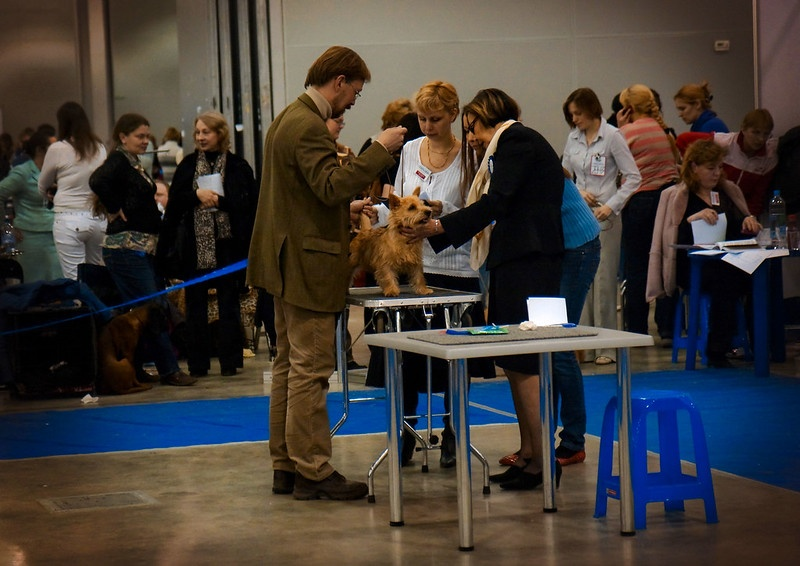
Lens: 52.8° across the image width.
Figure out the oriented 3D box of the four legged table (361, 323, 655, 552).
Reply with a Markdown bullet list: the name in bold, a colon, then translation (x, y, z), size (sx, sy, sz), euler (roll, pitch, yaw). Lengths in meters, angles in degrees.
- **four legged table**: translation (0.531, 0.733, 3.964), size (1.070, 1.006, 0.840), euler (2, -5, -24)

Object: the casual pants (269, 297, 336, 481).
- **casual pants**: translation (-0.550, 0.578, 4.433), size (0.408, 0.996, 0.290), euler (-1, 6, 4)

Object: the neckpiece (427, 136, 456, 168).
- **neckpiece**: translation (0.252, -0.773, 4.902), size (0.134, 0.112, 0.203), euler (10, -21, 2)

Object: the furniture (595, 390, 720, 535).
- **furniture**: translation (1.302, 0.910, 4.116), size (0.518, 0.719, 0.516), euler (3, -12, -13)

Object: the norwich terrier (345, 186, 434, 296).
- **norwich terrier**: translation (-0.067, -0.227, 4.997), size (0.291, 0.613, 0.819), euler (-2, 4, -33)

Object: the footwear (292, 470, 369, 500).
- **footwear**: translation (-0.388, 1.121, 4.483), size (0.396, 0.203, 0.168), euler (-1, 0, -2)

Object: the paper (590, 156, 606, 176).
- **paper**: translation (1.768, -1.037, 7.149), size (0.147, 0.217, 0.023), euler (1, 3, 8)

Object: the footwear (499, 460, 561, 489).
- **footwear**: translation (0.726, 1.077, 4.525), size (0.349, 0.164, 0.160), euler (0, -3, -2)

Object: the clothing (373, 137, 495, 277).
- **clothing**: translation (0.246, -0.485, 5.183), size (0.808, 1.246, 0.669), euler (1, 3, 30)

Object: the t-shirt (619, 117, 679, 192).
- **t-shirt**: translation (2.369, -1.191, 7.645), size (0.597, 0.668, 0.362), euler (-14, 5, -5)

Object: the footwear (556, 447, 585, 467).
- **footwear**: translation (1.025, 1.044, 4.834), size (0.225, 0.100, 0.085), euler (8, -9, -20)

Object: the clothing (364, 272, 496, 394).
- **clothing**: translation (0.140, 0.396, 5.067), size (0.787, 0.701, 0.827), euler (2, 5, 29)

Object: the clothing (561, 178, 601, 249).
- **clothing**: translation (0.982, -0.405, 4.621), size (0.183, 0.372, 0.254), euler (-19, 0, 16)

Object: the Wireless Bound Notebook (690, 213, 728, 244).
- **Wireless Bound Notebook**: translation (2.753, -0.473, 7.153), size (0.313, 0.337, 0.196), euler (-2, 0, -7)

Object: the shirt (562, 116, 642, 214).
- **shirt**: translation (1.747, -1.059, 7.310), size (0.458, 0.879, 0.902), euler (-20, 26, -34)

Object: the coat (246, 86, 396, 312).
- **coat**: translation (-0.458, -0.566, 4.889), size (0.939, 1.559, 1.105), euler (-4, 19, -24)

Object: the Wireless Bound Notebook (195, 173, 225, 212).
- **Wireless Bound Notebook**: translation (-1.725, -0.840, 7.365), size (0.248, 0.283, 0.097), euler (-1, 0, -3)

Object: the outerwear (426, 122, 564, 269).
- **outerwear**: translation (0.565, -0.493, 4.487), size (0.681, 0.827, 0.618), euler (-1, -1, 6)

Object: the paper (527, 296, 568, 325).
- **paper**: translation (0.737, 0.146, 4.034), size (0.150, 0.158, 0.037), euler (2, -7, -9)

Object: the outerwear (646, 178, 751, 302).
- **outerwear**: translation (2.753, -0.423, 7.167), size (1.076, 1.194, 0.435), euler (-4, -16, 21)

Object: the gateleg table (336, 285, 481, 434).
- **gateleg table**: translation (0.043, 0.394, 4.768), size (0.774, 0.840, 0.824), euler (0, -3, -2)
